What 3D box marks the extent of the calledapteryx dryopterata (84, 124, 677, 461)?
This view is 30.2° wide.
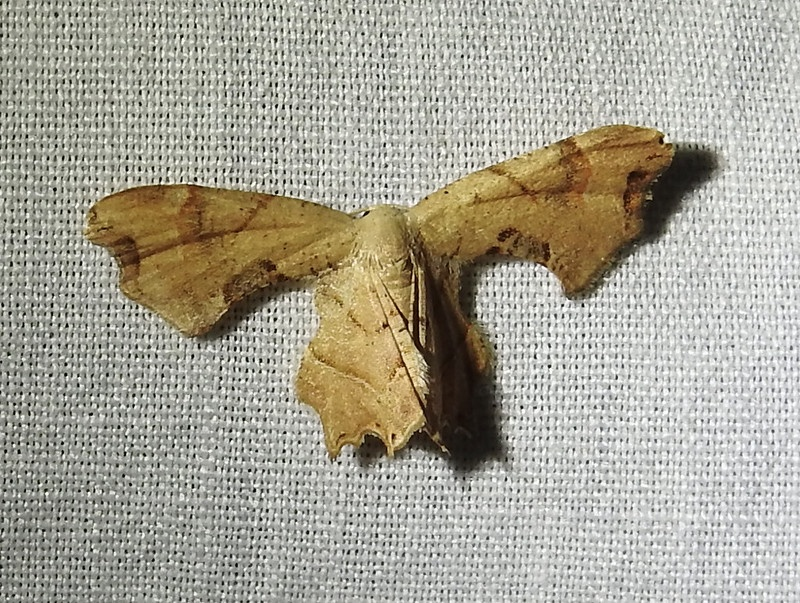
[{"bbox_3d":[-0.021,-0.006,1.960,0.653,0.302,0.417,-2,87,-4],"label":"calledapteryx dryopterata"}]
